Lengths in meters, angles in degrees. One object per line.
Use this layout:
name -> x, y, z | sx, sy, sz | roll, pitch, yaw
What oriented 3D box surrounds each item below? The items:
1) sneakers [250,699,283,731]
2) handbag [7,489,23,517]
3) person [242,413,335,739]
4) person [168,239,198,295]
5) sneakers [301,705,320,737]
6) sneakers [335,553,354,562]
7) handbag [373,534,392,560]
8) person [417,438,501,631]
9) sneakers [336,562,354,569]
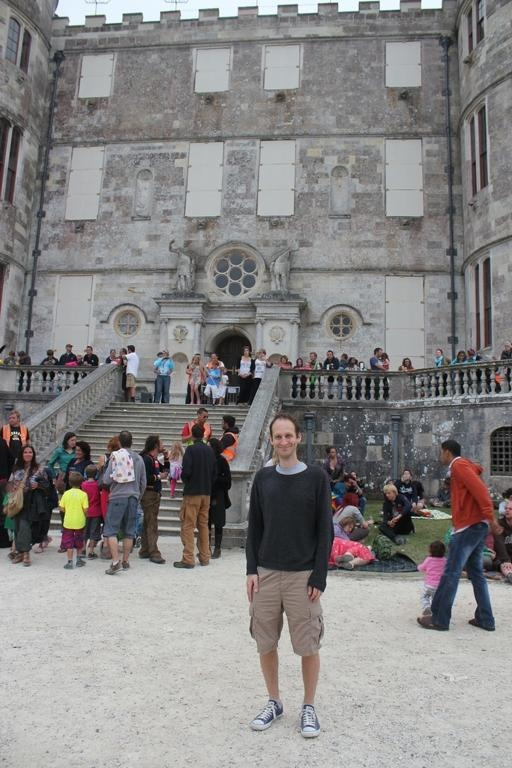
sneakers -> 0.053, 1.669, 3.695 | 0.070, 0.087, 0.209 | 10, -11, 22
handbag -> -2.584, 1.278, 7.930 | 0.178, 0.319, 0.135 | 4, -8, -12
person -> 0.149, 0.953, 3.816 | 0.458, 1.575, 0.311 | 1, -7, 10
person -> -2.167, -3.575, 22.411 | 0.779, 1.899, 1.077 | 5, -8, -17
sneakers -> 0.264, 1.662, 3.629 | 0.096, 0.129, 0.167 | 2, -8, 4
sneakers -> 1.088, 2.175, 9.163 | 0.180, 0.098, 0.122 | -22, -9, 11
handbag -> 1.675, 2.216, 9.915 | 0.235, 0.291, 0.364 | 2, -7, 1
person -> 1.634, 1.212, 5.985 | 0.553, 1.517, 0.724 | 0, -8, 17
sneakers -> 1.087, 2.268, 9.141 | 0.150, 0.086, 0.149 | -16, -14, 28
